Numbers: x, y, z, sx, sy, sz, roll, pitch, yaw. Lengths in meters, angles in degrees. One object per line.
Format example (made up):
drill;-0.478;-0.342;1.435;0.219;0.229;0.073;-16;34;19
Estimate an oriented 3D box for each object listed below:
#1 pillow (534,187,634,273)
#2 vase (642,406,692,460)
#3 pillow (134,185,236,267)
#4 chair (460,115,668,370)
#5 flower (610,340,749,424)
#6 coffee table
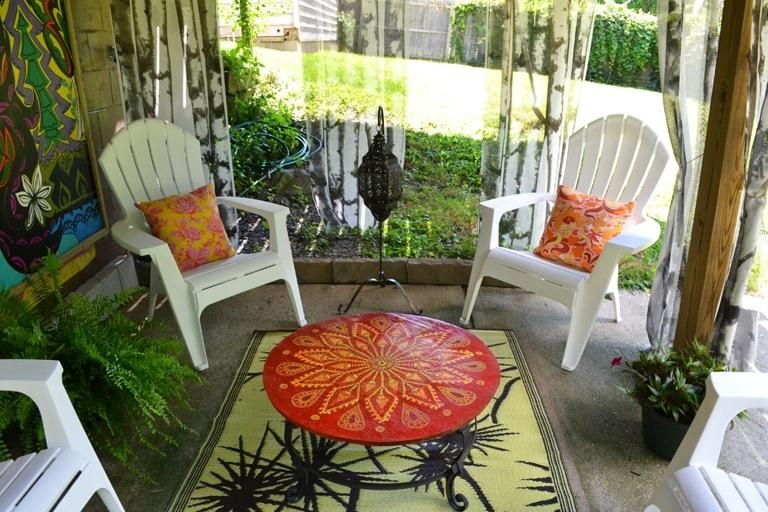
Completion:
pillow;1.243;-0.182;3.260;0.531;0.521;0.167;25;3;43
vase;1.357;0.859;2.598;0.232;0.182;0.238;18;17;42
pillow;-1.211;-0.178;3.246;0.154;0.485;0.515;-27;-4;41
chair;1.187;-0.074;3.402;1.051;1.473;1.106;-17;34;-38
flower;1.437;0.618;2.551;0.467;0.240;0.432;0;16;5
coffee table;-0.014;0.547;2.440;1.078;0.196;0.836;7;21;8
